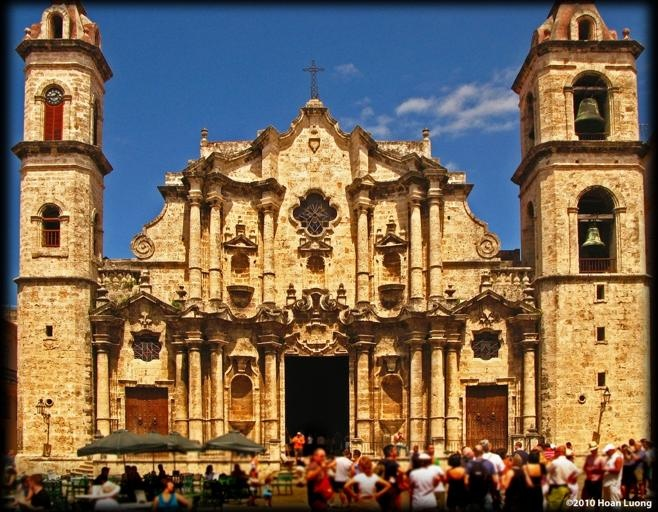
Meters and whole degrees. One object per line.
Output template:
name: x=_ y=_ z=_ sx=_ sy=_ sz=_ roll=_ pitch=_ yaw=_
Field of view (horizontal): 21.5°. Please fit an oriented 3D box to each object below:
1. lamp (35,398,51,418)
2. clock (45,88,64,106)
lamp: x=-14.252 y=7.607 z=86.553 sx=0.853 sy=1.249 sz=0.843 roll=3 pitch=-23 yaw=-9
clock: x=-14.281 y=-8.160 z=89.477 sx=1.022 sy=0.922 sz=0.061 roll=0 pitch=1 yaw=-6
